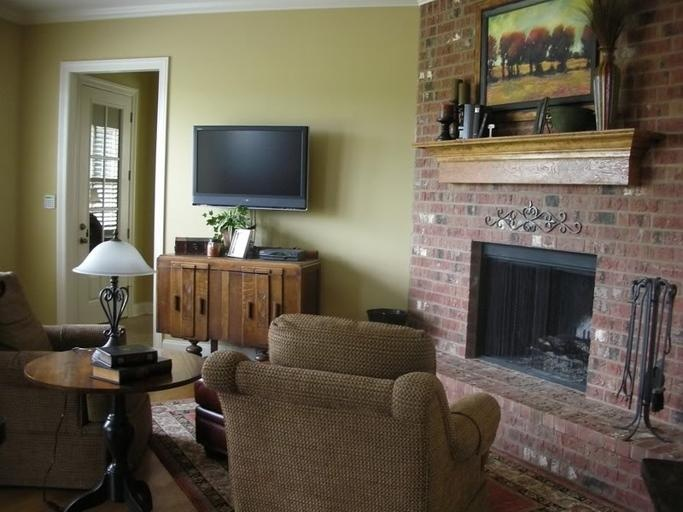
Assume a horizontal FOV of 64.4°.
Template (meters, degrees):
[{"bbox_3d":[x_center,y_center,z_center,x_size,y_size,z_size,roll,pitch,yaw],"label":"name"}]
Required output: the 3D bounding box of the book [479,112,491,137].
[{"bbox_3d":[1.034,-0.938,3.940,0.041,0.148,0.160,6,4,17],"label":"book"}]

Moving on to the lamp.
[{"bbox_3d":[-1.236,0.195,2.959,0.436,0.638,0.429,2,2,-16],"label":"lamp"}]

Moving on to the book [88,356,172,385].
[{"bbox_3d":[-1.034,0.571,2.696,0.368,0.083,0.217,-5,9,-26],"label":"book"}]

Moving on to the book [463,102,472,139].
[{"bbox_3d":[0.924,-0.972,3.964,0.080,0.236,0.040,1,8,14],"label":"book"}]

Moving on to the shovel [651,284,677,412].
[{"bbox_3d":[1.800,0.539,3.032,0.088,0.775,0.291,4,9,32],"label":"shovel"}]

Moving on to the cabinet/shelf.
[{"bbox_3d":[-0.831,0.343,4.340,0.868,0.567,0.335,1,-1,18],"label":"cabinet/shelf"}]
